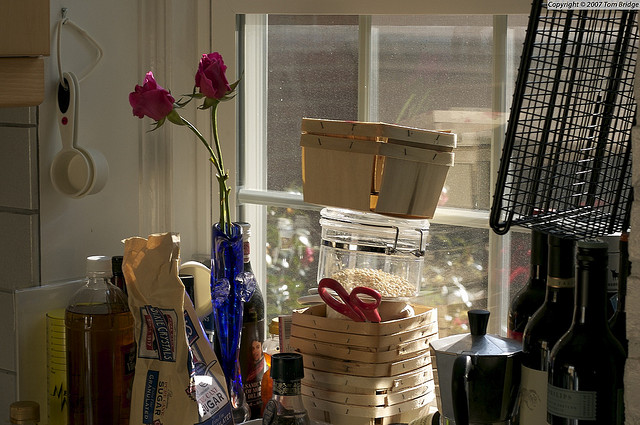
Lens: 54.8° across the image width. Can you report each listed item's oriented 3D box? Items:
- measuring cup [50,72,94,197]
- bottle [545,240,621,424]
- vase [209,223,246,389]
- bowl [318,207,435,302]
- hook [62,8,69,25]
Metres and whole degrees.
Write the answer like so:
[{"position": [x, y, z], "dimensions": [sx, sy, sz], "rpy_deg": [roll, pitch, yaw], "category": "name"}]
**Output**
[{"position": [-0.592, -0.198, 1.548], "dimensions": [0.096, 0.311, 0.078], "rpy_deg": [-5, 8, 4], "category": "measuring cup"}, {"position": [0.428, 0.196, 0.987], "dimensions": [0.107, 0.304, 0.053], "rpy_deg": [3, 5, 18], "category": "bottle"}, {"position": [-0.199, 0.203, 1.339], "dimensions": [0.070, 0.347, 0.044], "rpy_deg": [1, 5, -8], "category": "vase"}, {"position": [0.124, 0.087, 1.342], "dimensions": [0.197, 0.206, 0.213], "rpy_deg": [4, -2, 0], "category": "bowl"}, {"position": [-0.626, -0.485, 1.521], "dimensions": [0.008, 0.039, 0.015], "rpy_deg": [5, 6, 38], "category": "hook"}]
